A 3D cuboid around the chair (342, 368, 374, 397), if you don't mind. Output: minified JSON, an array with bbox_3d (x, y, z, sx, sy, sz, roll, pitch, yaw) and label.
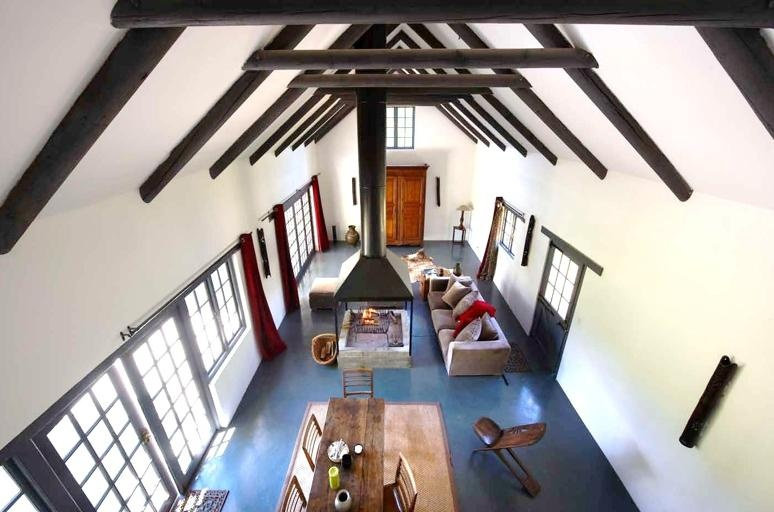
[{"bbox_3d":[-0.473,2.071,7.733,0.419,0.752,0.450,-1,39,0],"label":"chair"}]

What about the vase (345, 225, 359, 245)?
[{"bbox_3d":[-0.935,-0.670,13.821,0.488,0.633,0.486,1,33,1],"label":"vase"}]

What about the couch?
[{"bbox_3d":[1.426,1.239,9.329,1.011,0.956,2.522,2,26,-6],"label":"couch"}]

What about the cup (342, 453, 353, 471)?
[{"bbox_3d":[-0.500,2.590,5.974,0.098,0.177,0.177,0,-1,14],"label":"cup"}]

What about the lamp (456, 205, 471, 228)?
[{"bbox_3d":[2.193,-1.163,13.741,0.458,0.636,0.477,-3,27,0],"label":"lamp"}]

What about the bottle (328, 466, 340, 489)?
[{"bbox_3d":[-0.646,2.722,5.812,0.179,0.293,0.184,0,22,0],"label":"bottle"}]

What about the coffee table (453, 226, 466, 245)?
[{"bbox_3d":[2.121,-0.648,14.147,0.447,0.543,0.459,-2,37,0],"label":"coffee table"}]

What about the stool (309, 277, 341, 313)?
[{"bbox_3d":[-1.301,0.884,10.356,0.649,0.512,0.961,0,27,0],"label":"stool"}]
